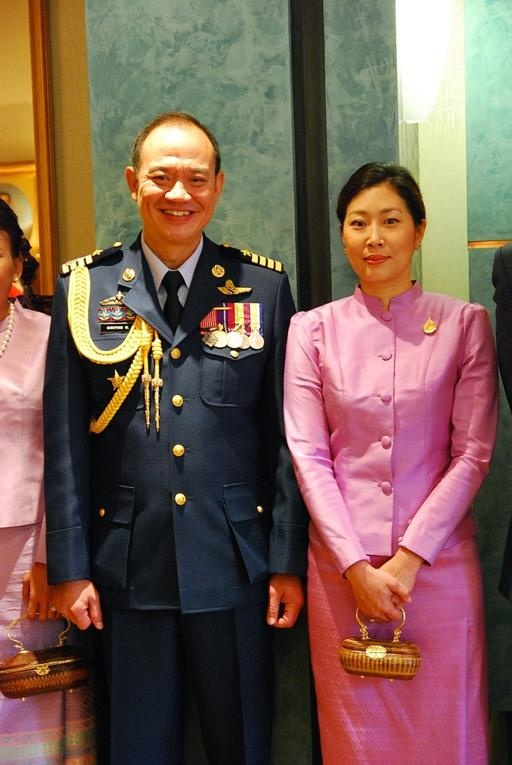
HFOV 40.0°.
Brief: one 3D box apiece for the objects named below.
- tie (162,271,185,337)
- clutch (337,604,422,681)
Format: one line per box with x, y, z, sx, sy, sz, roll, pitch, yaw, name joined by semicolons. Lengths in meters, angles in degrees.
-0.195;-0.185;1.681;0.047;0.151;0.045;-4;-15;7;tie
0.258;0.528;1.462;0.175;0.159;0.093;-6;-14;30;clutch
